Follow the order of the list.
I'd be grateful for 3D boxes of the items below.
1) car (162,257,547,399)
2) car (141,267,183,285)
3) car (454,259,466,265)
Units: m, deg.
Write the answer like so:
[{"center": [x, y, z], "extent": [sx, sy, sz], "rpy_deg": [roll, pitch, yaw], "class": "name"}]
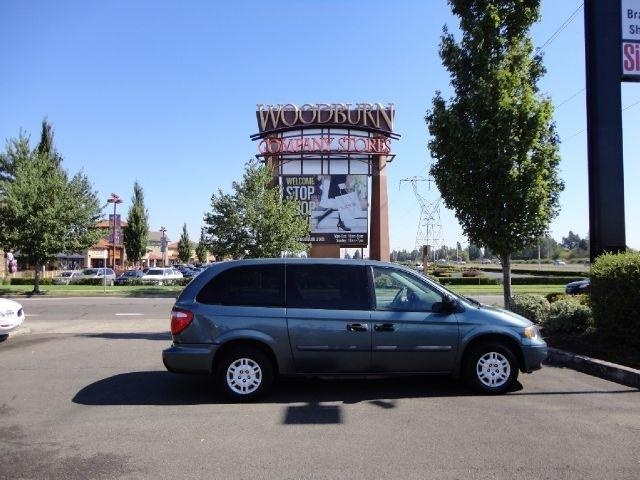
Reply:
[{"center": [0.577, 1.340, 8.910], "extent": [5.587, 2.101, 2.617], "rpy_deg": [-2, -3, -2], "class": "car"}, {"center": [-12.738, 2.945, 41.010], "extent": [3.658, 1.327, 1.701], "rpy_deg": [8, -7, -41], "class": "car"}, {"center": [46.901, 7.295, 168.046], "extent": [2.830, 1.213, 4.250], "rpy_deg": [0, -4, 9], "class": "car"}]
